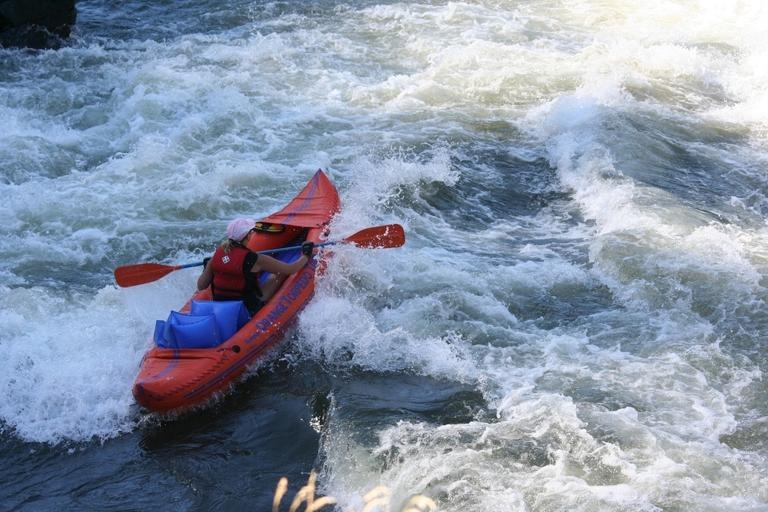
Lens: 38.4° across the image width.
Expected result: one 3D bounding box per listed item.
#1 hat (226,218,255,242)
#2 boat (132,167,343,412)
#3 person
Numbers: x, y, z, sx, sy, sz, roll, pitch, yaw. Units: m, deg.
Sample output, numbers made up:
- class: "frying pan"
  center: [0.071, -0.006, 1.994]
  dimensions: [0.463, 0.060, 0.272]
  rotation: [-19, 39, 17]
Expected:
- class: "hat"
  center: [-2.527, -0.449, 19.411]
  dimensions: [0.364, 0.232, 0.491]
  rotation: [23, 43, 18]
- class: "boat"
  center: [-2.159, 0.908, 20.334]
  dimensions: [1.949, 1.040, 5.367]
  rotation: [29, 62, 24]
- class: "person"
  center: [-2.213, 0.197, 19.899]
  dimensions: [1.326, 1.428, 0.800]
  rotation: [25, 44, 8]
